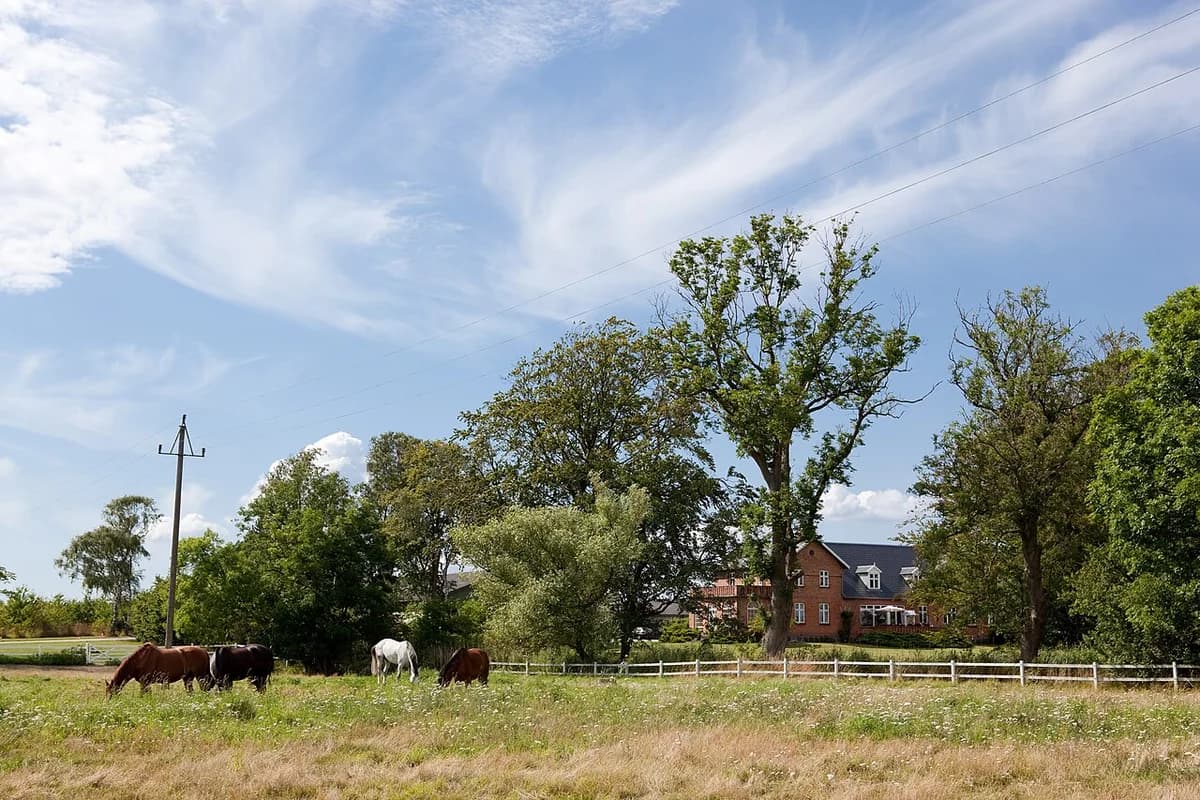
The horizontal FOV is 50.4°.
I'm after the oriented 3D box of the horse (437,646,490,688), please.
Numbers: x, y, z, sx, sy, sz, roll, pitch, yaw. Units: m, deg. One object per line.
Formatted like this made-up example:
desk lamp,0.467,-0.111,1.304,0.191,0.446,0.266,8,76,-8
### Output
horse,-5.811,11.859,56.040,1.300,1.693,2.725,3,3,32
